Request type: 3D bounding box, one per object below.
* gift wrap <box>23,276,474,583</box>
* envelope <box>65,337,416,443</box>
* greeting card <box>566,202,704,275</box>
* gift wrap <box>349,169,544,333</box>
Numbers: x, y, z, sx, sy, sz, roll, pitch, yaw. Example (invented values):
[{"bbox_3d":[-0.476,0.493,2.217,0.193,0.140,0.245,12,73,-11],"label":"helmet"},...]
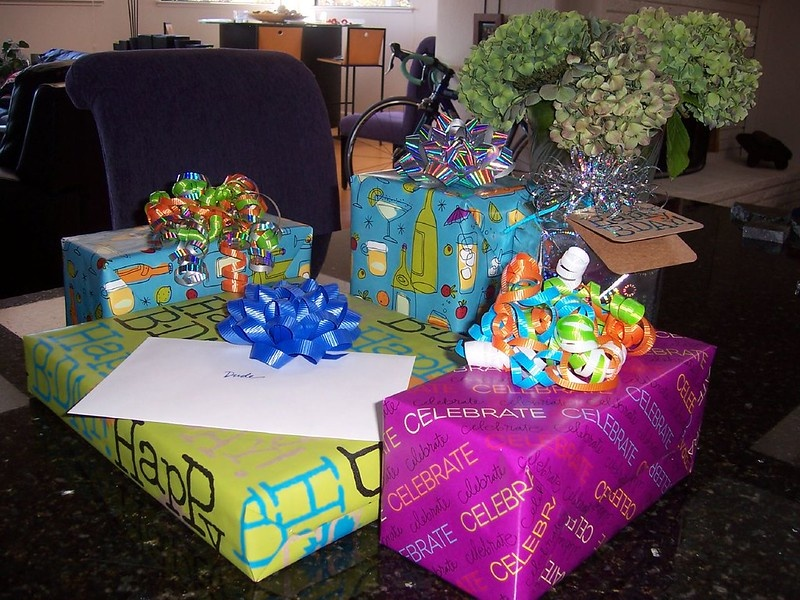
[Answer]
[{"bbox_3d":[-0.075,0.046,0.568,0.307,0.063,0.287,25,29,38],"label":"gift wrap"},{"bbox_3d":[-0.190,0.087,0.708,0.260,0.002,0.420,9,3,-18],"label":"envelope"},{"bbox_3d":[0.267,-0.073,0.674,0.098,0.026,0.096,-10,41,-23],"label":"greeting card"},{"bbox_3d":[0.054,-0.045,0.951,0.277,0.238,0.210,28,27,32],"label":"gift wrap"}]
